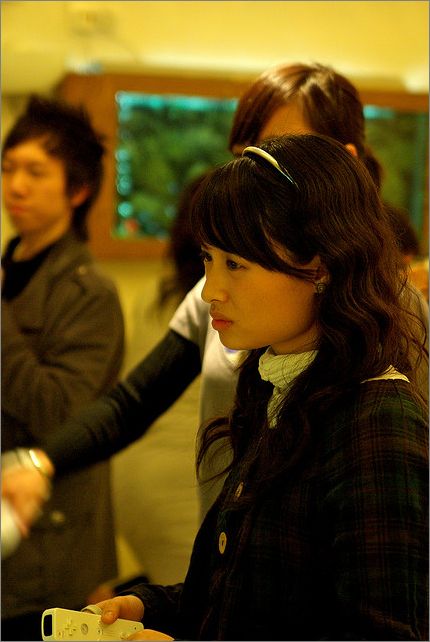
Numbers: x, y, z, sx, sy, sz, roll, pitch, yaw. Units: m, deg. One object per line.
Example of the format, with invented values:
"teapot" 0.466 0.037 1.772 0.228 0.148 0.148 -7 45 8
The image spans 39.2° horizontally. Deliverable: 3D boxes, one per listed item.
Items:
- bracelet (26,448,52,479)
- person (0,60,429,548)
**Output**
"bracelet" -0.295 0.235 1.028 0.012 0.052 0.049 -36 54 -4
"person" -0.176 -0.235 2.034 0.954 1.781 0.957 9 3 -22
